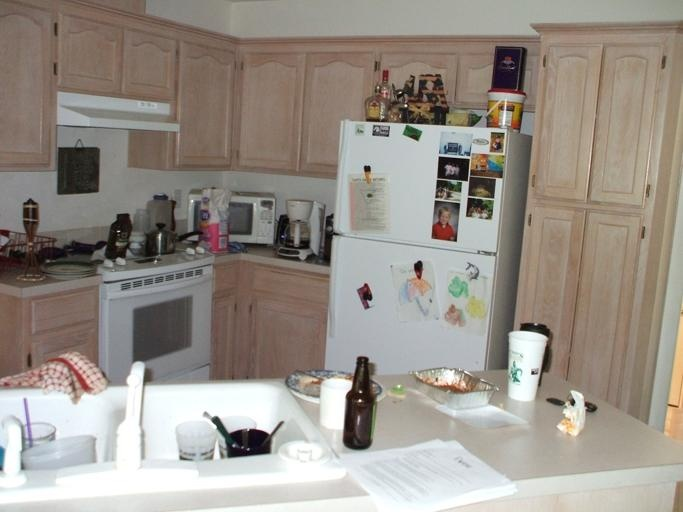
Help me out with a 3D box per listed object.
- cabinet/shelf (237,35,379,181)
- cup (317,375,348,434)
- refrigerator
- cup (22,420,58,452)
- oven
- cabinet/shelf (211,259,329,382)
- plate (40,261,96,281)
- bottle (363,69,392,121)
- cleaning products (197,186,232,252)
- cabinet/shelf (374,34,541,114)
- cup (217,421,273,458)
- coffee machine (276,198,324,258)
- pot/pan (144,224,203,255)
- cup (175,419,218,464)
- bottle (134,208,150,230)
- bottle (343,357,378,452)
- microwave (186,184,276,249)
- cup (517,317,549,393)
[{"bbox_3d":[-0.207,-1.052,3.573,1.078,1.018,0.353,5,5,24],"label":"cabinet/shelf"},{"bbox_3d":[-0.022,0.417,1.480,0.128,0.099,0.097,-8,16,-33],"label":"cup"},{"bbox_3d":[0.467,-0.033,3.328,1.020,1.841,0.693,4,34,10],"label":"refrigerator"},{"bbox_3d":[-0.809,0.473,1.412,0.076,0.081,0.076,5,5,0],"label":"cup"},{"bbox_3d":[-1.131,0.383,3.118,0.479,0.710,0.722,2,4,34],"label":"oven"},{"bbox_3d":[-0.465,0.396,3.508,0.807,0.795,0.442,2,-2,36],"label":"cabinet/shelf"},{"bbox_3d":[-1.511,0.064,2.878,0.262,0.056,0.237,11,13,26],"label":"plate"},{"bbox_3d":[0.229,-0.970,3.153,0.157,0.312,0.321,5,11,2],"label":"bottle"},{"bbox_3d":[-0.883,-0.258,3.618,0.196,0.433,0.203,2,11,-15],"label":"cleaning products"},{"bbox_3d":[0.742,-1.164,3.385,0.983,0.456,0.203,3,26,8],"label":"cabinet/shelf"},{"bbox_3d":[-0.252,0.497,1.404,0.140,0.103,0.083,1,1,3],"label":"cup"},{"bbox_3d":[-0.295,-0.196,3.717,0.286,0.395,0.321,6,6,7],"label":"coffee machine"},{"bbox_3d":[-1.169,-0.133,3.503,0.263,0.198,0.418,11,13,27],"label":"pot/pan"},{"bbox_3d":[-0.396,0.507,1.422,0.109,0.100,0.114,4,10,-1],"label":"cup"},{"bbox_3d":[-1.441,-0.269,3.742,0.103,0.155,0.080,0,12,-22],"label":"bottle"},{"bbox_3d":[0.053,0.393,1.420,0.116,0.242,0.117,2,4,0],"label":"bottle"},{"bbox_3d":[-0.748,-0.280,3.840,0.647,0.424,0.396,2,5,10],"label":"microwave"},{"bbox_3d":[0.655,0.352,1.817,0.160,0.206,0.120,-2,-11,22],"label":"cup"}]
